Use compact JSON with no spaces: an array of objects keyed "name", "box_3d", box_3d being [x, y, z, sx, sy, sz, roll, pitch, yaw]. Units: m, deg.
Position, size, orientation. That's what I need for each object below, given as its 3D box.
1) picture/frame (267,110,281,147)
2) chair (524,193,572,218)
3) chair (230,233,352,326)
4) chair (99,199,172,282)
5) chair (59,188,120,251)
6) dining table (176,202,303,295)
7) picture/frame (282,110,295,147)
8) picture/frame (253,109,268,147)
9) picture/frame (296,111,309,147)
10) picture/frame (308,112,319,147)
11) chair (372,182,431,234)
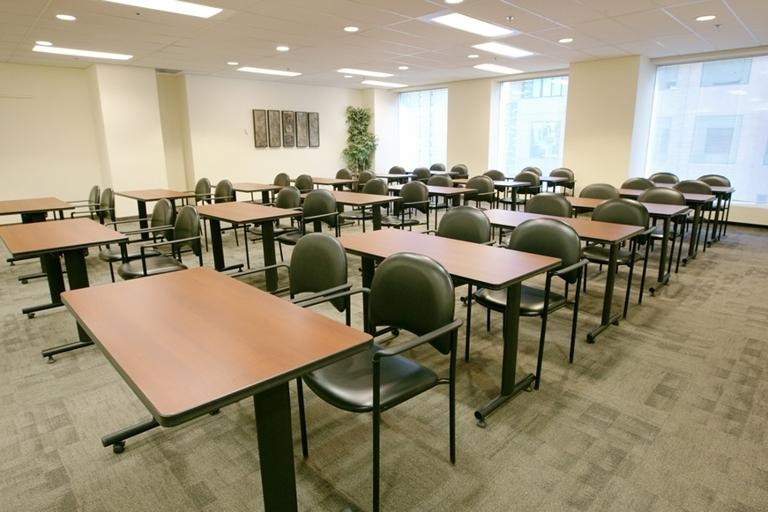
[{"name":"picture/frame","box_3d":[-2.579,-3.014,12.058,0.048,0.864,0.370,11,19,43]},{"name":"chair","box_3d":[1.893,-0.550,5.791,0.308,0.417,0.396,4,5,36]},{"name":"chair","box_3d":[-0.746,0.300,4.039,0.926,0.876,0.721,11,15,43]},{"name":"chair","box_3d":[-2.777,-0.179,5.774,0.735,0.876,0.614,-19,28,-41]},{"name":"chair","box_3d":[-4.522,-0.561,7.811,0.733,0.888,0.687,-3,22,11]},{"name":"dining table","box_3d":[-1.911,-0.208,6.175,0.743,0.708,1.447,27,5,8]},{"name":"picture/frame","box_3d":[-2.269,-3.078,12.272,0.402,0.820,0.079,9,18,25]},{"name":"picture/frame","box_3d":[-2.816,-2.966,11.783,0.396,0.823,0.063,6,13,18]},{"name":"picture/frame","box_3d":[-2.017,-3.151,12.473,0.070,0.810,0.441,14,24,30]},{"name":"picture/frame","box_3d":[-1.745,-3.160,12.748,0.089,0.865,0.382,8,16,34]},{"name":"chair","box_3d":[0.288,-0.685,7.594,0.718,0.945,0.846,7,-4,28]}]
